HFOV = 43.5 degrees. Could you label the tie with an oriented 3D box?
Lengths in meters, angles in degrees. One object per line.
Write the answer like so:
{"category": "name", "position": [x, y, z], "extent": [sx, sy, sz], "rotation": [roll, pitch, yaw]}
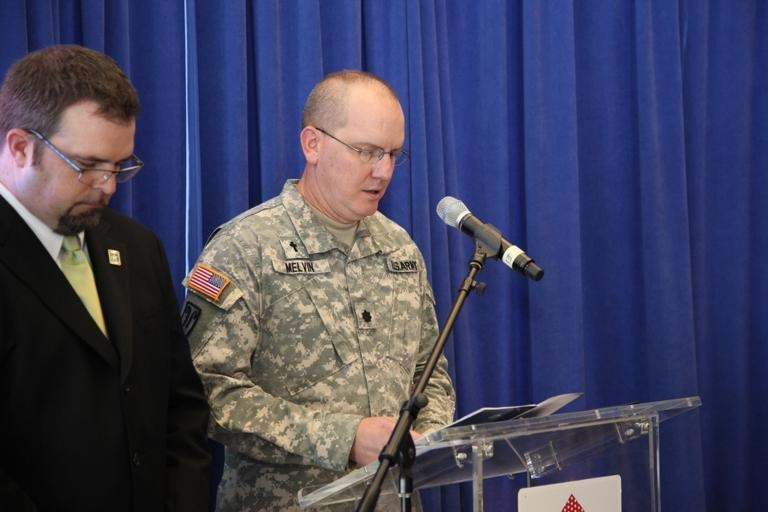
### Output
{"category": "tie", "position": [-0.915, 0.100, 2.922], "extent": [0.075, 0.472, 0.053], "rotation": [-4, -37, -28]}
